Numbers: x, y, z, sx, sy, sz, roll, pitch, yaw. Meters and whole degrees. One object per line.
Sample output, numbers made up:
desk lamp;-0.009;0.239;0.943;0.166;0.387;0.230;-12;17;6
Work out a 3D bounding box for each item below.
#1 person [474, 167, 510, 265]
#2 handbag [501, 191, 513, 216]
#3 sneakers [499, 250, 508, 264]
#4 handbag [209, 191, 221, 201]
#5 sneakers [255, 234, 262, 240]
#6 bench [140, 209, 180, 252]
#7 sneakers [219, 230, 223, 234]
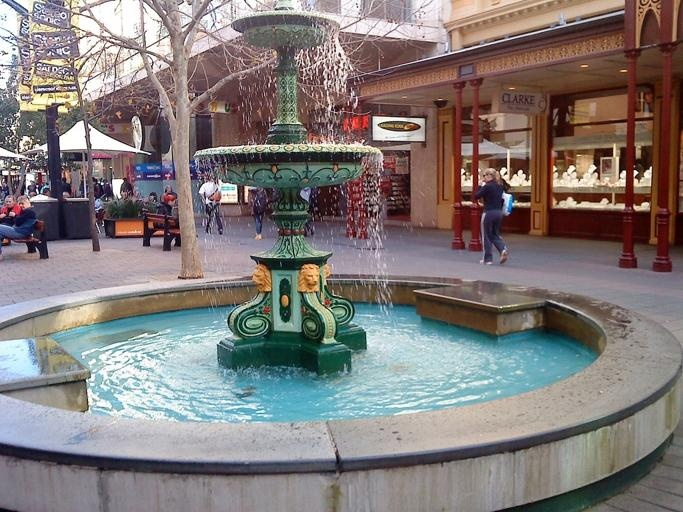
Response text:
person;3.359;-0.923;12.753;0.675;2.080;1.298;1;5;16
handbag;3.690;-1.169;12.741;0.208;0.484;0.707;1;5;16
sneakers;3.510;0.013;12.346;0.144;0.185;0.405;-1;1;-1
handbag;-4.225;-2.010;19.315;0.218;0.336;0.479;1;5;14
sneakers;-2.624;-0.604;18.384;0.203;0.230;0.135;1;-4;-27
bench;-5.279;-0.750;16.859;0.900;0.993;1.972;-4;6;-34
sneakers;-4.235;-0.843;20.274;0.084;0.159;0.147;0;-3;-4
